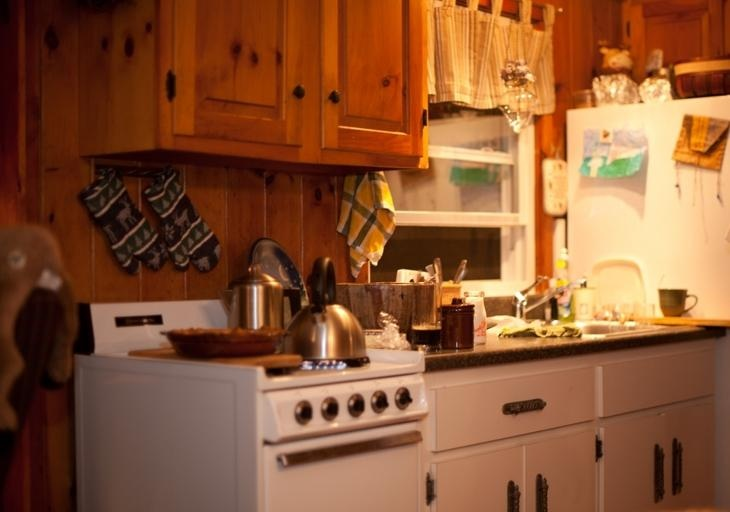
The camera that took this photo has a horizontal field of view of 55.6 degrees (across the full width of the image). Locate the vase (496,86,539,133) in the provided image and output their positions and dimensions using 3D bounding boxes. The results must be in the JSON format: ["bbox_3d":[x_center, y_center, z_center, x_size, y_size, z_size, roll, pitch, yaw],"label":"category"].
[{"bbox_3d":[0.834,-0.778,3.735,0.180,0.237,0.408,-2,4,14],"label":"vase"}]

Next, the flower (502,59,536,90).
[{"bbox_3d":[0.794,-0.911,3.533,0.118,0.159,0.160,-1,7,26],"label":"flower"}]

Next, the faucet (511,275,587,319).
[{"bbox_3d":[0.984,0.214,3.657,0.356,0.247,0.621,-1,4,26],"label":"faucet"}]

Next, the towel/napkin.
[{"bbox_3d":[0.007,-0.158,2.967,0.231,0.551,0.106,-6,-33,5],"label":"towel/napkin"}]

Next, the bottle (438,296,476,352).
[{"bbox_3d":[0.350,0.264,2.586,0.138,0.171,0.149,0,0,9],"label":"bottle"}]

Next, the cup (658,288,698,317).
[{"bbox_3d":[1.596,0.245,3.543,0.172,0.131,0.123,2,-8,-13],"label":"cup"}]

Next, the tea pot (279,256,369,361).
[{"bbox_3d":[-0.131,0.183,2.314,0.259,0.369,0.339,-2,-4,7],"label":"tea pot"}]

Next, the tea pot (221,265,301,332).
[{"bbox_3d":[-0.361,0.183,2.445,0.276,0.292,0.210,-2,-6,-18],"label":"tea pot"}]
